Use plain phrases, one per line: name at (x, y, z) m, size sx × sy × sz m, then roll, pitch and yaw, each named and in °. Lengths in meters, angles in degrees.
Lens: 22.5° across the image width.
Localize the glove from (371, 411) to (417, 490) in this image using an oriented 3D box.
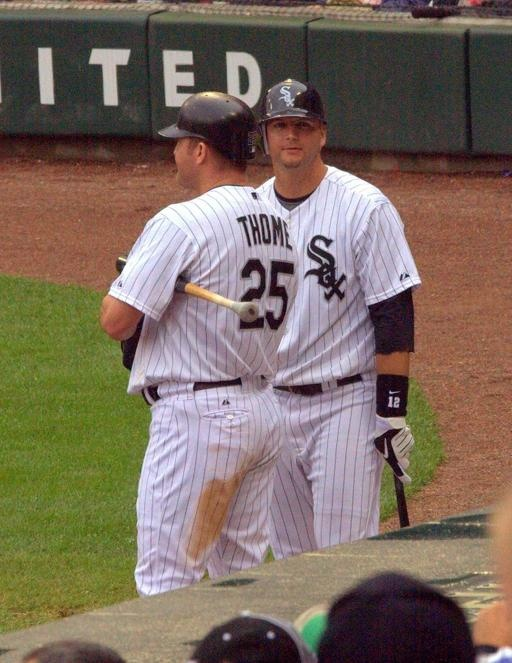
glove at (0.395, 0.303, 3.657) m, size 0.110 × 0.295 × 0.089 m, roll 18°, pitch 37°, yaw 29°

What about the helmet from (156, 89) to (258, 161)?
helmet at (-0.125, -0.566, 3.360) m, size 0.275 × 0.147 × 0.196 m, roll 18°, pitch 25°, yaw 27°

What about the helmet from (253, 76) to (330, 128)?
helmet at (0.107, -0.704, 3.854) m, size 0.191 × 0.137 × 0.240 m, roll -1°, pitch 2°, yaw -3°

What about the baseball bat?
baseball bat at (-0.192, -0.112, 3.123) m, size 0.469 × 0.069 × 0.089 m, roll 22°, pitch 42°, yaw 30°
